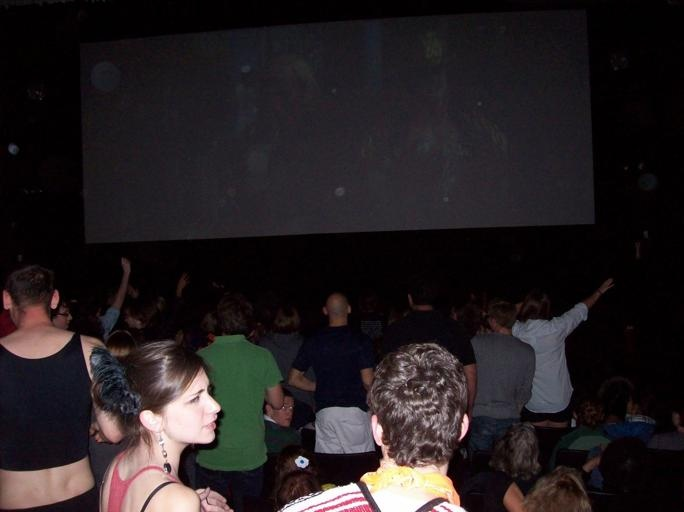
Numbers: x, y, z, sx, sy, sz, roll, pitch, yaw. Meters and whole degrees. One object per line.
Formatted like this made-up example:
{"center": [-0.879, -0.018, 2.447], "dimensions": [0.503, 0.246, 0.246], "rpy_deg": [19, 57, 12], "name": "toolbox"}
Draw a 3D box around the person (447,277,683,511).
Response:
{"center": [1.932, 1.146, 4.921], "dimensions": [1.445, 2.262, 0.636], "rpy_deg": [1, 5, 23], "name": "person"}
